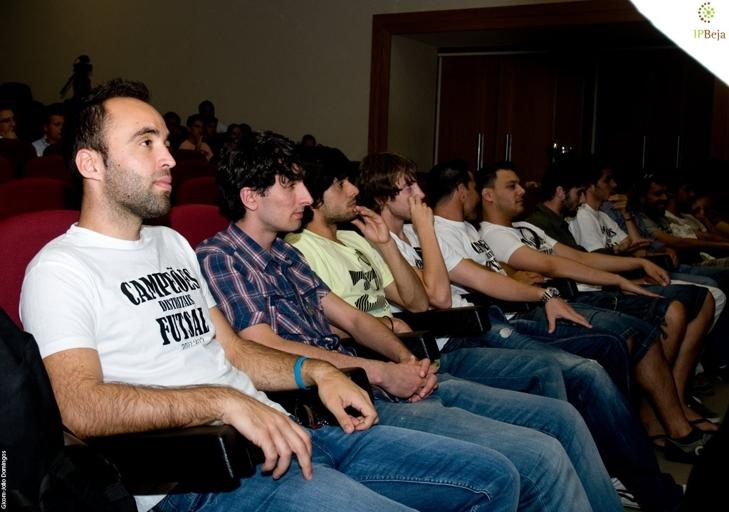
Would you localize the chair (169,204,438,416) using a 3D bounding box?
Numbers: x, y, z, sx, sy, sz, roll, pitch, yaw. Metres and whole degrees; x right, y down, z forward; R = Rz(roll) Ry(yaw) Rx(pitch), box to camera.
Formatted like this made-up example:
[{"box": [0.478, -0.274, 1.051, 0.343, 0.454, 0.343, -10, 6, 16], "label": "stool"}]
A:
[{"box": [-0.209, 0.116, 1.757, 0.804, 0.801, 0.585, -9, -2, 30], "label": "chair"}]

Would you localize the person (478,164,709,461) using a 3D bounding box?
[{"box": [1.231, 0.227, 2.725, 0.759, 1.543, 1.133, -14, 7, -44], "label": "person"}]

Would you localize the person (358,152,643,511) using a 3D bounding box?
[{"box": [0.795, 0.229, 2.938, 1.184, 2.245, 1.057, -18, -8, 27], "label": "person"}]

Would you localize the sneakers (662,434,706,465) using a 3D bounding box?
[{"box": [1.408, 0.840, 2.175, 0.161, 0.125, 0.135, 3, 13, 19], "label": "sneakers"}]

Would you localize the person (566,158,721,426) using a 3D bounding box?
[{"box": [1.482, 0.205, 2.909, 0.624, 1.608, 0.908, -10, 2, -34], "label": "person"}]

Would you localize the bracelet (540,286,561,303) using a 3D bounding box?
[{"box": [0.886, 0.182, 2.342, 0.083, 0.086, 0.057, -16, 43, 16], "label": "bracelet"}]
